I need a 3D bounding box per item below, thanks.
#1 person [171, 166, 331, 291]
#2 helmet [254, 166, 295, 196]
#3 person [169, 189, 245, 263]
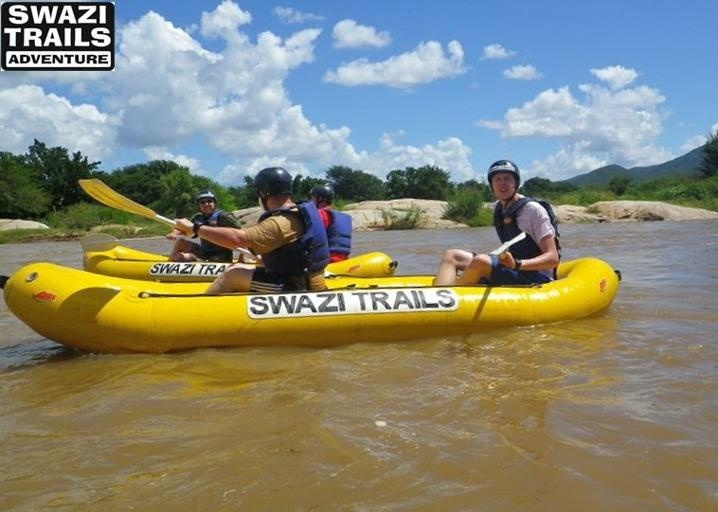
[{"bbox_3d":[-0.996,-0.015,5.615,1.538,1.519,0.935,-1,10,-19],"label":"person"},{"bbox_3d":[-0.770,-0.654,5.382,0.319,0.243,0.291,-3,3,-10],"label":"helmet"},{"bbox_3d":[-2.267,-0.384,8.811,1.089,1.141,0.883,-1,-12,-11],"label":"person"}]
